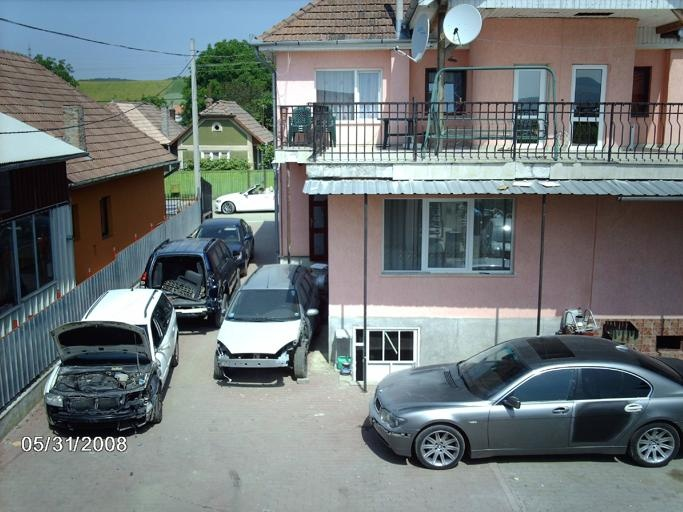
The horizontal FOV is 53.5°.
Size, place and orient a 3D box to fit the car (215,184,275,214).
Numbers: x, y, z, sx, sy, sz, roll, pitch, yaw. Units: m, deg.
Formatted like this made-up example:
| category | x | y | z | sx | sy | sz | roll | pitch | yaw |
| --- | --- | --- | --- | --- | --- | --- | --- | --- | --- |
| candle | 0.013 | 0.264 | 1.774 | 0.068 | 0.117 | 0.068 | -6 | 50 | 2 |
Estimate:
| category | x | y | z | sx | sy | sz | roll | pitch | yaw |
| --- | --- | --- | --- | --- | --- | --- | --- | --- | --- |
| car | -4.962 | -2.837 | 35.600 | 3.470 | 1.315 | 1.690 | 2 | 9 | -3 |

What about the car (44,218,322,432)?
| category | x | y | z | sx | sy | sz | roll | pitch | yaw |
| --- | --- | --- | --- | --- | --- | --- | --- | --- | --- |
| car | -4.468 | 1.250 | 16.264 | 2.337 | 2.542 | 7.594 | 1 | 12 | 3 |

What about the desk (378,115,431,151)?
| category | x | y | z | sx | sy | sz | roll | pitch | yaw |
| --- | --- | --- | --- | --- | --- | --- | --- | --- | --- |
| desk | 1.506 | -3.202 | 17.577 | 1.231 | 0.879 | 5.129 | 2 | 9 | 4 |
